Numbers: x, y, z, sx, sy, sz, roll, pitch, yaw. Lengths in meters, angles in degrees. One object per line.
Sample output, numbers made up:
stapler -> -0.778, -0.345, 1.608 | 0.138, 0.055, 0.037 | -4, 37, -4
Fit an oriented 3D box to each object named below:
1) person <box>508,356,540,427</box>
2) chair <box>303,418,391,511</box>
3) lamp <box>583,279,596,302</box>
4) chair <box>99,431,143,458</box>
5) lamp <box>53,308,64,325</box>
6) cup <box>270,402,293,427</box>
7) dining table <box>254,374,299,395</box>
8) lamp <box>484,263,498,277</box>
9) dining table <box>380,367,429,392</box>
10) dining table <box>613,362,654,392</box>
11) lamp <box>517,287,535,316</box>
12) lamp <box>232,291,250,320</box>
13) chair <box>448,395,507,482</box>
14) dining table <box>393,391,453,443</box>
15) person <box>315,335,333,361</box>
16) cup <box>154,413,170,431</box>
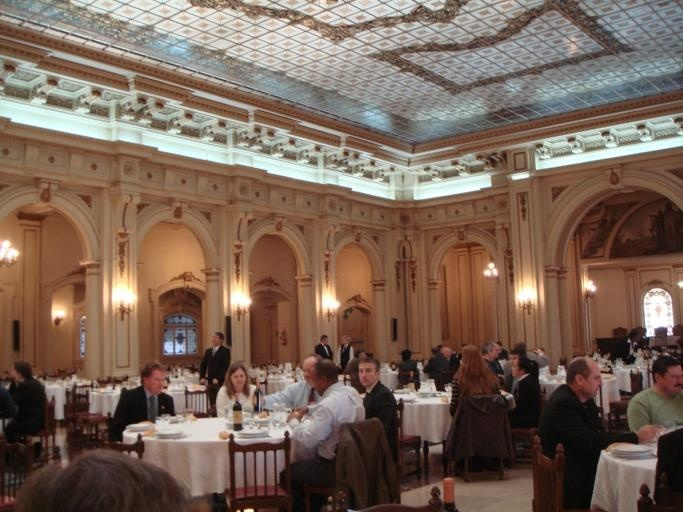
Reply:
person -> 2.472, 1.988, 8.429 | 0.618, 1.071, 0.423 | -1, 6, 8
chair -> 0.209, 1.695, 4.954 | 0.535, 0.686, 0.257 | -1, -11, -7
lamp -> 8.761, 1.167, 21.269 | 0.266, 0.751, 0.683 | -12, -14, 39
chair -> -1.815, 1.587, 5.004 | 0.311, 0.208, 0.779 | 2, -12, -21
lamp -> -7.964, 1.739, 17.024 | 0.098, 0.356, 0.402 | 2, -5, 29
cup -> -0.655, 1.588, 6.077 | 0.149, 0.228, 0.250 | -3, -10, 22
dining table -> -1.358, 2.665, 12.311 | 1.081, 0.526, 1.134 | 0, -8, -1
lamp -> 4.955, 0.489, 20.217 | 0.146, 0.514, 0.546 | 10, 3, 40
dining table -> 1.266, 2.900, 14.335 | 1.238, 0.571, 1.201 | 0, -11, -1
dining table -> 5.814, 2.426, 12.184 | 0.829, 0.416, 0.839 | -2, -9, 9
lamp -> 5.038, 1.196, 16.465 | 0.481, 0.635, 0.216 | -2, -8, 39
lamp -> -2.475, 1.212, 14.782 | 0.236, 0.766, 0.647 | -12, -14, 37
chair -> 1.704, 2.301, 7.747 | 0.868, 1.023, 0.686 | -1, -11, -7
dining table -> 1.228, 2.247, 8.528 | 0.684, 0.334, 0.674 | -1, -10, 15
person -> -0.423, 2.312, 15.526 | 0.440, 0.580, 0.717 | 0, -11, -12
cup -> -1.684, 1.579, 5.695 | 0.138, 0.120, 0.157 | 1, -11, -7
